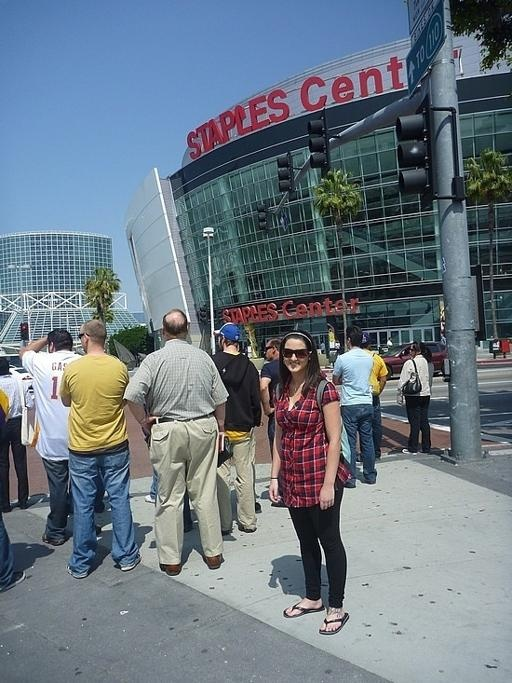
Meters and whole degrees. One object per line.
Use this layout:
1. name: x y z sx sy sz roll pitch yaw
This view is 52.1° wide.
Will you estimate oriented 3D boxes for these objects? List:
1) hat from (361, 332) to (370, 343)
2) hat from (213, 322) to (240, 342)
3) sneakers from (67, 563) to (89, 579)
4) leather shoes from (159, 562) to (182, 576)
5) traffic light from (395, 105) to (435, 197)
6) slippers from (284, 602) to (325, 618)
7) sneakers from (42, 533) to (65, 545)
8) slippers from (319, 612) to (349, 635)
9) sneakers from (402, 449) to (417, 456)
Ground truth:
1. hat: 1.382 -0.033 6.619 0.085 0.122 0.122 9 1 -22
2. hat: -0.285 -0.097 4.860 0.147 0.125 0.211 -11 32 -45
3. sneakers: -1.278 1.645 3.724 0.164 0.075 0.175 -3 -4 -8
4. leather shoes: -0.604 1.610 3.704 0.153 0.079 0.209 -3 -4 -11
5. traffic light: 1.951 -2.259 6.262 0.375 1.030 0.338 -1 24 21
6. slippers: 0.262 1.490 2.908 0.193 0.047 0.077 5 -10 -16
7. sneakers: -1.742 1.691 4.492 0.215 0.093 0.081 -4 -7 36
8. slippers: 0.403 1.464 2.726 0.106 0.063 0.217 -5 -4 26
9. sneakers: 2.289 1.674 7.813 0.085 0.094 0.219 -3 -8 -1
